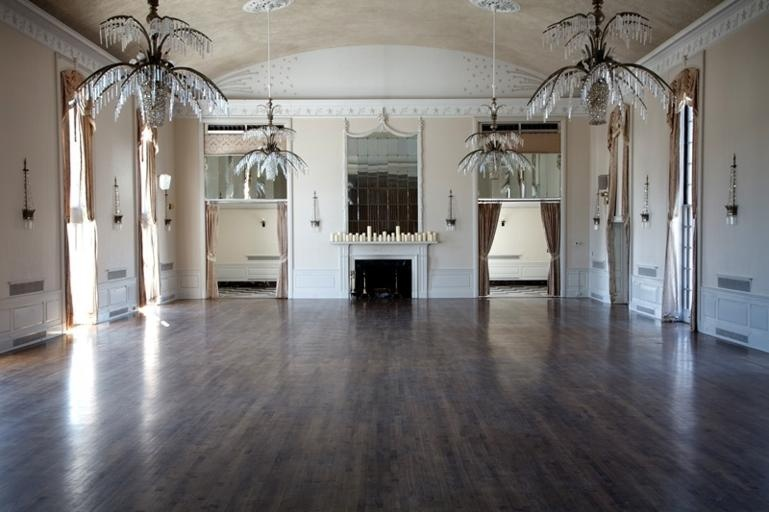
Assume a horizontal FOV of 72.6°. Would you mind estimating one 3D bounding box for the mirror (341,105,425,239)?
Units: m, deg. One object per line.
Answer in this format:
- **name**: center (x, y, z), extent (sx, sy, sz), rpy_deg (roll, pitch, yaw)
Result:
- **mirror**: center (-0.023, -2.444, 14.927), extent (2.272, 3.399, 0.500), rpy_deg (1, 10, 6)
